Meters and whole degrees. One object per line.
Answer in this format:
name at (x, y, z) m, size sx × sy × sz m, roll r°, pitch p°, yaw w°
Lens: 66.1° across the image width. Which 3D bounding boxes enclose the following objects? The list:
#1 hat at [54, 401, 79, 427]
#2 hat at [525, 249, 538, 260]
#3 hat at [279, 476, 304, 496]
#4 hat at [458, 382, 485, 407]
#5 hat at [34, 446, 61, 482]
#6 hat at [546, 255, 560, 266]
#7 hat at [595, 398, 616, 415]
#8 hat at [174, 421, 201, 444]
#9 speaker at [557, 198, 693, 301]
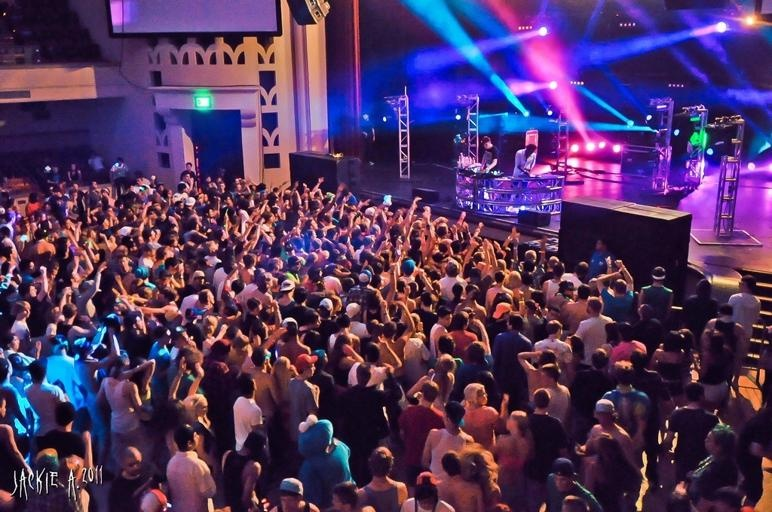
hat at (-2.793, 1.380, 5.188) m, size 0.158 × 0.218 × 0.153 m, roll 0°, pitch 3°, yaw -31°
hat at (2.107, -0.028, 8.610) m, size 0.127 × 0.130 × 0.104 m, roll -18°, pitch 27°, yaw -9°
hat at (-0.712, 1.766, 4.540) m, size 0.143 × 0.118 × 0.129 m, roll 2°, pitch 3°, yaw 20°
hat at (0.815, 1.272, 5.401) m, size 0.184 × 0.215 × 0.115 m, roll 2°, pitch 3°, yaw 3°
hat at (-2.747, 1.684, 4.831) m, size 0.169 × 0.187 × 0.329 m, roll 0°, pitch 3°, yaw -32°
hat at (2.361, 0.057, 8.361) m, size 0.095 × 0.125 × 0.122 m, roll 6°, pitch -28°, yaw 37°
hat at (1.928, 1.320, 5.237) m, size 0.154 × 0.118 × 0.195 m, roll 2°, pitch 3°, yaw 14°
hat at (-1.645, 1.475, 4.921) m, size 0.158 × 0.148 × 0.142 m, roll 2°, pitch 3°, yaw 6°
speaker at (3.564, -0.091, 8.870) m, size 0.437 × 1.301 × 1.341 m, roll -11°, pitch 18°, yaw -37°
